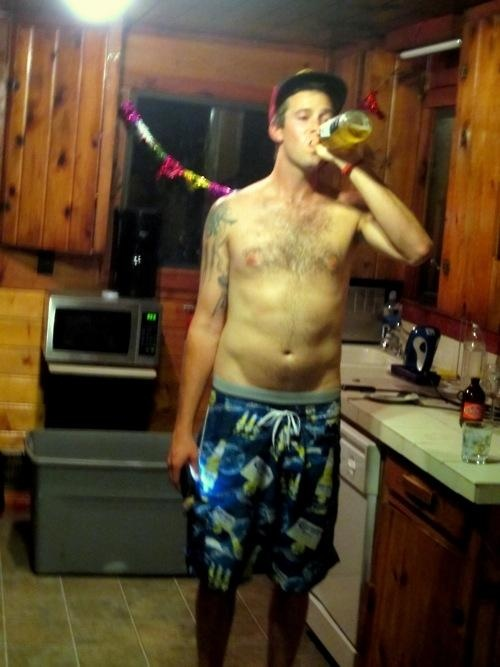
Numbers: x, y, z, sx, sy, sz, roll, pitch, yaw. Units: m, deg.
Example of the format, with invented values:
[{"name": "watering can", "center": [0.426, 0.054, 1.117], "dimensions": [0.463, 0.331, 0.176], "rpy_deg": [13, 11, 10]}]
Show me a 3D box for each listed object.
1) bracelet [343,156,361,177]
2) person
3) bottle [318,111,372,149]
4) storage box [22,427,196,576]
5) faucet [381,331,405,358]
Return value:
[{"name": "bracelet", "center": [0.195, -0.327, 1.104], "dimensions": [0.014, 0.041, 0.032], "rpy_deg": [28, -22, -16]}, {"name": "person", "center": [0.088, 0.098, 1.166], "dimensions": [0.504, 1.123, 0.196], "rpy_deg": [4, -1, 16]}, {"name": "bottle", "center": [0.174, -0.375, 1.043], "dimensions": [0.079, 0.062, 0.144], "rpy_deg": [5, 0, -3]}, {"name": "storage box", "center": [-0.505, 0.624, 2.322], "dimensions": [0.705, 0.472, 0.511], "rpy_deg": [2, 3, -9]}, {"name": "faucet", "center": [0.632, 0.045, 2.494], "dimensions": [0.096, 0.104, 0.103], "rpy_deg": [5, 0, -26]}]
